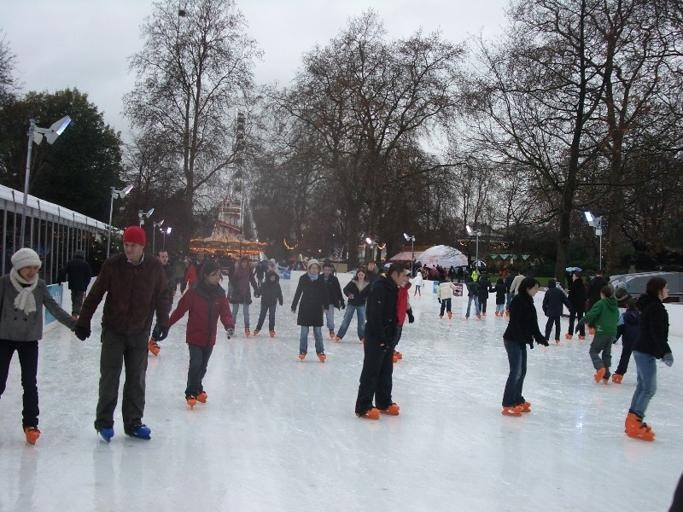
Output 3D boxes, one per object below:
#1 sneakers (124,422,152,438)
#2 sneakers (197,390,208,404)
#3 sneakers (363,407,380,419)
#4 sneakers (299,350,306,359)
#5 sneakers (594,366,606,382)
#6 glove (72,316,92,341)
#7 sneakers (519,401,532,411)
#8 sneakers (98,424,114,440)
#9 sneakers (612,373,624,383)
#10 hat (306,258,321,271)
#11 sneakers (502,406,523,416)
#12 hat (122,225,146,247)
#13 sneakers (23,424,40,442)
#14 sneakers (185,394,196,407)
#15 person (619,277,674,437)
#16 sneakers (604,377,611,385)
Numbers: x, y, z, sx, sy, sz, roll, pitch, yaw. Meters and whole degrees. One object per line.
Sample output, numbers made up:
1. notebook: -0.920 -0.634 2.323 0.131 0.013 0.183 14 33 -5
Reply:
1. sneakers: -2.179 1.837 6.639 0.330 0.167 0.124 -4 -3 34
2. sneakers: -1.841 1.852 8.211 0.084 0.121 0.160 2 -9 -16
3. sneakers: 0.398 1.971 7.855 0.119 0.078 0.165 -12 -5 -29
4. sneakers: -0.726 1.858 11.806 0.091 0.152 0.144 4 4 -1
5. sneakers: 4.568 2.065 10.934 0.159 0.323 0.134 4 6 -8
6. glove: -2.620 0.721 6.286 0.143 0.229 0.275 2 -4 -23
7. sneakers: 2.514 2.046 8.509 0.125 0.060 0.177 -2 2 -6
8. sneakers: -2.457 1.835 6.501 0.156 0.155 0.257 2 -4 -22
9. sneakers: 4.904 2.142 11.007 0.147 0.187 0.175 1 5 5
10. hat: -0.536 0.153 12.511 0.174 0.223 0.260 3 -8 -8
11. sneakers: 2.297 2.054 8.300 0.229 0.198 0.119 -2 3 -2
12. hat: -2.204 -0.229 6.506 0.201 0.280 0.288 5 5 17
13. sneakers: -3.074 1.757 6.190 0.085 0.111 0.238 2 -24 -31
14. sneakers: -1.943 1.859 8.014 0.097 0.159 0.148 2 -8 -15
15. person: 3.836 1.231 7.730 0.512 1.950 0.803 -2 -4 32
16. sneakers: 4.710 2.198 11.018 0.124 0.122 0.140 0 -3 -9
